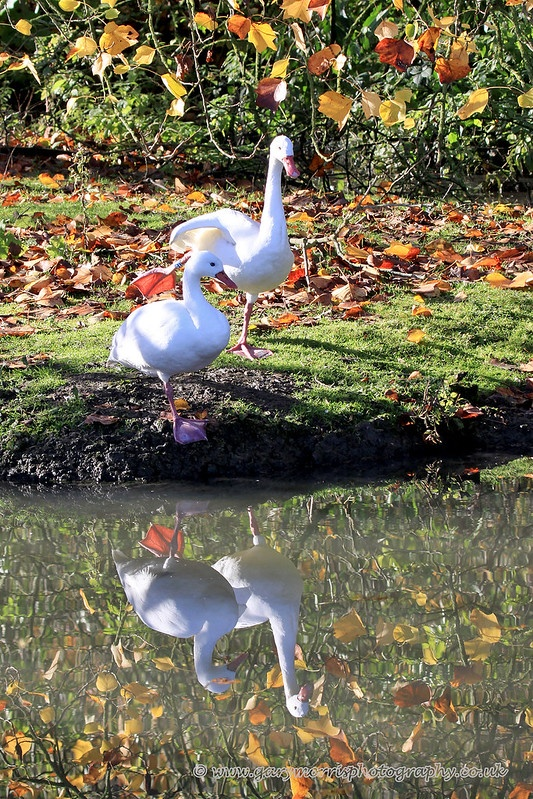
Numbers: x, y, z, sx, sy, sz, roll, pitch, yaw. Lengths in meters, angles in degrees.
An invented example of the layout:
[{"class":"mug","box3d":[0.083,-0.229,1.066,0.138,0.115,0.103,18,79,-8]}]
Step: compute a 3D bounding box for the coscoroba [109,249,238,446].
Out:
[{"class":"coscoroba","box3d":[-0.390,-0.230,3.641,0.516,0.829,0.459,10,18,43]}]
